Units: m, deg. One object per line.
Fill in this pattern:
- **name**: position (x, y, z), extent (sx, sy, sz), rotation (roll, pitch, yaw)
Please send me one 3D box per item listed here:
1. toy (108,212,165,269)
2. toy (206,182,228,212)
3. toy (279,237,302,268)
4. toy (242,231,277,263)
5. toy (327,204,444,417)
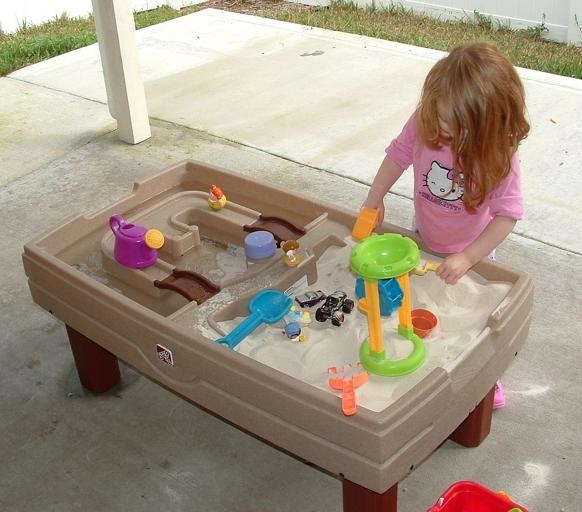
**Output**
- **toy**: position (-0.467, -0.043, 1.505), extent (0.186, 0.106, 0.121), rotation (33, 40, 29)
- **toy**: position (-0.257, -0.192, 1.654), extent (0.080, 0.075, 0.053), rotation (14, 34, 24)
- **toy**: position (0.001, -0.009, 1.374), extent (0.049, 0.029, 0.070), rotation (-8, 42, -2)
- **toy**: position (-0.090, -0.033, 1.456), extent (0.084, 0.041, 0.083), rotation (-31, 48, -29)
- **toy**: position (0.222, 0.069, 1.032), extent (0.166, 0.235, 0.458), rotation (4, 42, 22)
